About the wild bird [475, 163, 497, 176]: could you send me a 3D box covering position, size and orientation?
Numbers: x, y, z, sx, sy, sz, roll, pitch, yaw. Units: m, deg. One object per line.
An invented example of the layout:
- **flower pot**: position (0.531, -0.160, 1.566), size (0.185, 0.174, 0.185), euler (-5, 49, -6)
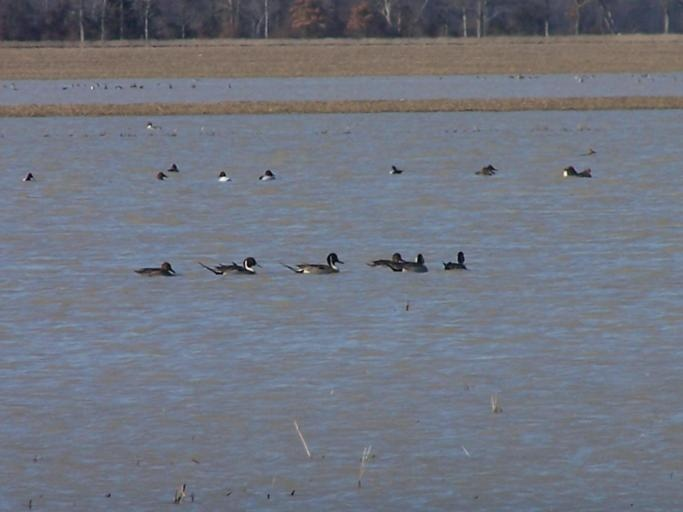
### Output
- **wild bird**: position (4.715, -2.822, 47.947), size (0.498, 0.241, 0.606), euler (-3, 1, -4)

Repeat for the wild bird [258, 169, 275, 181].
- **wild bird**: position (-2.355, -2.635, 47.582), size (0.368, 0.324, 0.510), euler (8, 15, 37)

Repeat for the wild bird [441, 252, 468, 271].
- **wild bird**: position (2.886, 0.146, 37.450), size (0.542, 0.225, 0.489), euler (1, 25, 2)

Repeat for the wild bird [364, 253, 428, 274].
- **wild bird**: position (1.548, 0.215, 37.574), size (0.779, 0.327, 0.740), euler (10, -5, -4)

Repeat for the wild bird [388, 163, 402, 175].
- **wild bird**: position (1.749, -2.829, 48.192), size (0.347, 0.229, 0.510), euler (-8, -2, 5)

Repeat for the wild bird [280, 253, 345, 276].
- **wild bird**: position (-0.691, 0.210, 37.606), size (1.753, 0.746, 0.524), euler (-2, -4, -2)

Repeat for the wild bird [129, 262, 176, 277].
- **wild bird**: position (-4.737, 0.336, 37.284), size (0.947, 0.411, 0.410), euler (0, 6, 12)

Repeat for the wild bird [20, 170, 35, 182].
- **wild bird**: position (-9.987, -2.525, 46.975), size (0.422, 0.407, 0.177), euler (5, -31, 4)

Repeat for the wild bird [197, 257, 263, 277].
- **wild bird**: position (-2.913, 0.251, 37.690), size (1.744, 0.677, 0.500), euler (5, 5, -7)
